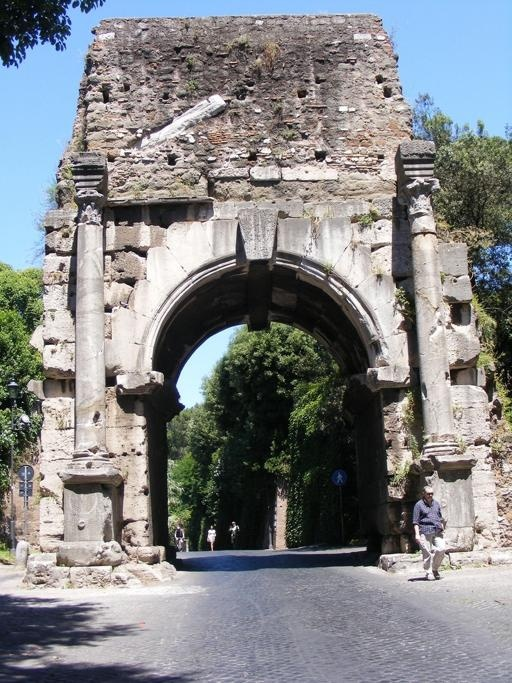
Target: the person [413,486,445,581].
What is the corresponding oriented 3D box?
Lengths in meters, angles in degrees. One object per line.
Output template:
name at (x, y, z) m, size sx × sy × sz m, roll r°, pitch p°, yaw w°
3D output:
person at (2.007, 2.235, 9.455) m, size 0.308 × 1.045 × 0.556 m, roll -6°, pitch -14°, yaw 15°
